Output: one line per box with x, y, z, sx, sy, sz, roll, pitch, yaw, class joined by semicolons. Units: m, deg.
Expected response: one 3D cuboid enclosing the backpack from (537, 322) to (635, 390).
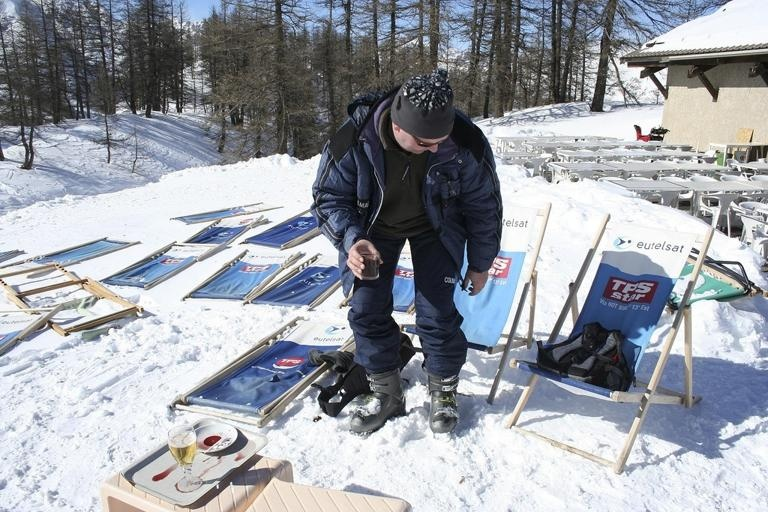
1.581;0.778;3.557;0.756;0.292;0.643;3;18;6;backpack

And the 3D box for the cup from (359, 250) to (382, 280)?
-0.095;0.071;2.975;0.122;0.146;0.100;-1;19;-6;cup

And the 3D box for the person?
0.127;0.104;3.296;1.336;2.476;0.770;5;20;12;person

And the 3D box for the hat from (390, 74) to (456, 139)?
0.232;-0.954;2.859;0.353;0.265;0.444;-1;37;-14;hat

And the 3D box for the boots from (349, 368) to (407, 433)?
-0.067;1.110;3.523;0.558;0.416;0.219;-3;-7;-44;boots

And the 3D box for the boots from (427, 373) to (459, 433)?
0.478;1.139;3.551;0.236;0.403;0.631;4;8;4;boots
